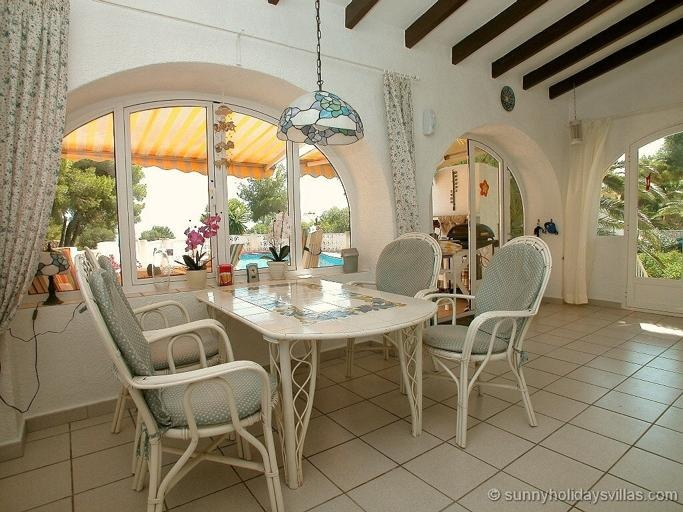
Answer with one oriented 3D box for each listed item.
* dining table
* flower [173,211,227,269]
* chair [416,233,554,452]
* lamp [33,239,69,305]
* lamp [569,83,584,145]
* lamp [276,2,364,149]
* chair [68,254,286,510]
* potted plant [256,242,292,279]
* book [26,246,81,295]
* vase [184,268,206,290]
[{"bbox_3d":[-0.074,0.447,3.038,1.110,0.926,1.773,-4,5,-31],"label":"dining table"},{"bbox_3d":[-1.336,-0.150,4.183,0.431,0.725,0.495,5,-1,-20],"label":"flower"},{"bbox_3d":[1.138,0.541,4.026,1.246,2.085,1.212,0,0,-16],"label":"chair"},{"bbox_3d":[-2.232,0.137,3.423,0.207,0.439,0.297,-6,7,-37],"label":"lamp"},{"bbox_3d":[3.255,-1.942,6.172,0.171,0.760,0.350,1,6,28],"label":"lamp"},{"bbox_3d":[-0.196,-1.467,3.337,0.620,1.237,1.053,-3,5,-10],"label":"lamp"},{"bbox_3d":[-0.939,0.623,3.190,1.380,2.139,1.213,-3,8,-24],"label":"chair"},{"bbox_3d":[-0.613,0.041,4.254,0.267,0.347,0.311,0,3,24],"label":"potted plant"},{"bbox_3d":[-2.147,0.112,3.288,0.288,0.308,0.104,-18,3,-35],"label":"book"},{"bbox_3d":[-1.275,0.198,3.891,0.159,0.148,0.156,3,0,24],"label":"vase"}]
